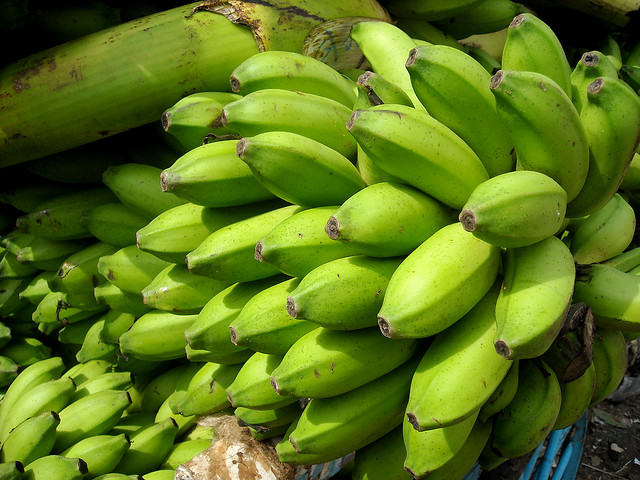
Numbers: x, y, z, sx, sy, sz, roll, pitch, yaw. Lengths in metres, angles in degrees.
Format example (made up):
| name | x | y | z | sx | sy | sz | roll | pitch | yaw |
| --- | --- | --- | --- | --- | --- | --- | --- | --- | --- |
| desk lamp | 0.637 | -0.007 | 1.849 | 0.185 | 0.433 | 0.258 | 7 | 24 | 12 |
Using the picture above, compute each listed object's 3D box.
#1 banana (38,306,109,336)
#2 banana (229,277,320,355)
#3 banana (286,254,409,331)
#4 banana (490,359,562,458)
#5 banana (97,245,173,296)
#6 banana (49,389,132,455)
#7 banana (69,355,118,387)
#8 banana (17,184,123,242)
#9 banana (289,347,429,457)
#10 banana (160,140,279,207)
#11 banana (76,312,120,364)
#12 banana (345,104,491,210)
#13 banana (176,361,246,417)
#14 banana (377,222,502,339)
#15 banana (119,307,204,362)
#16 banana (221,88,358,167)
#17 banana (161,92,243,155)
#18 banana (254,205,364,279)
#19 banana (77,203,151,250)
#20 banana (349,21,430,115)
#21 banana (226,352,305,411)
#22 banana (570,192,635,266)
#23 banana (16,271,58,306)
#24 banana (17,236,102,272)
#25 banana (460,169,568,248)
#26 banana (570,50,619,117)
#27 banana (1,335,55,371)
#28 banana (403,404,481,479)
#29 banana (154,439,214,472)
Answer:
| name | x | y | z | sx | sy | sz | roll | pitch | yaw |
| --- | --- | --- | --- | --- | --- | --- | --- | --- | --- |
| banana | -1.172 | 0.346 | 2.951 | 0.080 | 0.400 | 0.145 | 10 | 88 | 30 |
| banana | -0.142 | 0.247 | 2.060 | 0.294 | 0.111 | 0.195 | -28 | 95 | 6 |
| banana | 0.084 | 0.145 | 1.909 | 0.353 | 0.151 | 0.174 | -14 | 46 | -21 |
| banana | 0.629 | 0.547 | 2.034 | 0.192 | 0.281 | 0.077 | -23 | 35 | 17 |
| banana | -0.702 | 0.096 | 2.464 | 0.263 | 0.096 | 0.168 | 11 | 41 | -24 |
| banana | -0.960 | 0.750 | 2.682 | 0.472 | 0.153 | 0.187 | -20 | 103 | 25 |
| banana | -1.014 | 0.592 | 2.852 | 0.171 | 0.062 | 0.056 | -31 | 66 | -1 |
| banana | -1.056 | -0.117 | 2.687 | 0.297 | 0.115 | 0.105 | -20 | 63 | -11 |
| banana | 0.121 | 0.535 | 2.023 | 0.165 | 0.554 | 0.158 | 19 | 39 | -31 |
| banana | -0.334 | -0.224 | 2.255 | 0.503 | 0.229 | 0.212 | -8 | 96 | -34 |
| banana | -0.993 | 0.440 | 2.839 | 0.237 | 0.088 | 0.135 | -47 | 58 | 6 |
| banana | 0.299 | -0.259 | 2.041 | 0.475 | 0.188 | 0.244 | 33 | 70 | -4 |
| banana | -0.413 | 0.549 | 2.358 | 0.285 | 0.146 | 0.113 | -46 | 64 | 27 |
| banana | 0.346 | 0.128 | 1.933 | 0.437 | 0.234 | 0.193 | -47 | 32 | -11 |
| banana | -0.559 | 0.353 | 2.384 | 0.333 | 0.127 | 0.184 | -23 | 84 | 11 |
| banana | -0.086 | -0.406 | 2.185 | 0.554 | 0.156 | 0.223 | 10 | 82 | -26 |
| banana | -0.431 | -0.443 | 2.357 | 0.263 | 0.204 | 0.196 | -6 | 86 | -12 |
| banana | -0.074 | 0.033 | 2.060 | 0.219 | 0.439 | 0.172 | 36 | 112 | 28 |
| banana | -0.840 | -0.057 | 2.616 | 0.249 | 0.095 | 0.180 | 12 | 74 | 3 |
| banana | 0.294 | -0.637 | 2.310 | 0.162 | 0.192 | 0.559 | -24 | 38 | -9 |
| banana | -0.181 | 0.473 | 2.151 | 0.217 | 0.182 | 0.151 | -21 | 30 | 13 |
| banana | 1.016 | -0.026 | 2.300 | 0.319 | 0.114 | 0.181 | -40 | 99 | -42 |
| banana | -1.336 | 0.223 | 2.993 | 0.189 | 0.064 | 0.075 | -30 | 104 | 9 |
| banana | -1.196 | 0.094 | 2.902 | 0.413 | 0.133 | 0.169 | -11 | 64 | 18 |
| banana | 0.557 | -0.073 | 1.894 | 0.287 | 0.180 | 0.203 | -15 | 89 | -19 |
| banana | 0.970 | -0.569 | 2.204 | 0.170 | 0.290 | 0.103 | 3 | 92 | 22 |
| banana | -1.494 | 0.567 | 3.212 | 0.230 | 0.082 | 0.142 | 5 | 54 | -22 |
| banana | 0.354 | 0.617 | 1.912 | 0.162 | 0.092 | 0.297 | 30 | 84 | -21 |
| banana | -0.544 | 0.858 | 2.513 | 0.219 | 0.074 | 0.072 | -22 | 37 | -16 |
